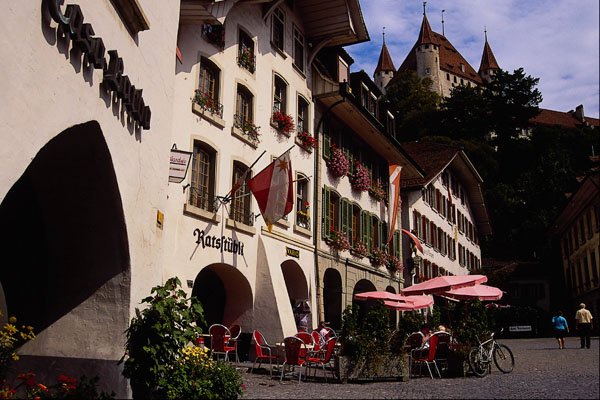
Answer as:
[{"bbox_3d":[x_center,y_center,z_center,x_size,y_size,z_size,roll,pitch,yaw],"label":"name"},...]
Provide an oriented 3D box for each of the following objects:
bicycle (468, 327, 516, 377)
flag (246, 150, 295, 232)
[{"bbox_3d":[5.110,4.181,18.843,0.553,1.004,1.549,-12,-5,-35],"label":"bicycle"},{"bbox_3d":[-0.800,-0.466,20.564,1.354,2.957,0.193,9,-35,-6],"label":"flag"}]
